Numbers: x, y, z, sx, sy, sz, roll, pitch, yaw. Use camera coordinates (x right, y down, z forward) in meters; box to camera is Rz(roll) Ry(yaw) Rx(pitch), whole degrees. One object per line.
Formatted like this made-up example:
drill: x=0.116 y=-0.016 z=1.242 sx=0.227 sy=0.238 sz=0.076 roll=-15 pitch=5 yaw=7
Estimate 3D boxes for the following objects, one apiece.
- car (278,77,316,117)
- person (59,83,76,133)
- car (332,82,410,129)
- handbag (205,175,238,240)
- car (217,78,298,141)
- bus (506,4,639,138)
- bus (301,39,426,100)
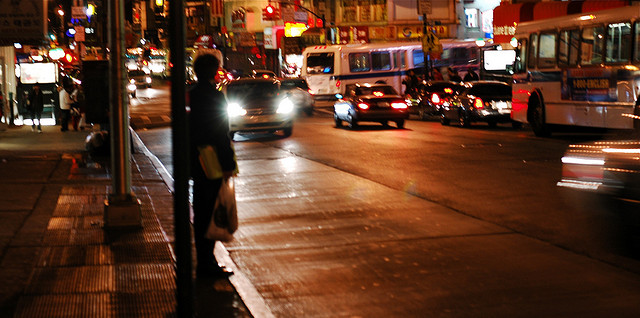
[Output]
car: x=-1.634 y=-4.685 z=35.144 sx=2.020 sy=1.509 sz=3.272 roll=-2 pitch=14 yaw=-10
person: x=-14.032 y=-2.882 z=27.535 sx=1.028 sy=2.567 sz=0.996 roll=-2 pitch=4 yaw=-43
car: x=2.776 y=-2.738 z=26.107 sx=3.212 sy=2.290 sz=1.939 roll=-1 pitch=14 yaw=-3
handbag: x=-1.651 y=0.839 z=8.535 sx=0.361 sy=1.101 sz=0.607 roll=12 pitch=19 yaw=40
car: x=-2.774 y=-2.583 z=23.143 sx=2.404 sy=1.664 sz=3.780 roll=-2 pitch=0 yaw=-13
bus: x=10.350 y=-3.355 z=20.051 sx=0.699 sy=5.382 sz=6.318 roll=-5 pitch=15 yaw=-17
bus: x=4.489 y=-8.857 z=50.016 sx=5.047 sy=5.292 sz=15.489 roll=8 pitch=16 yaw=37
